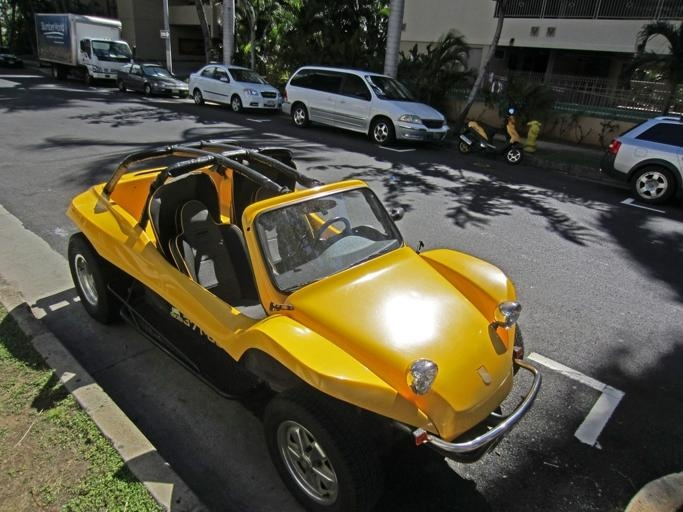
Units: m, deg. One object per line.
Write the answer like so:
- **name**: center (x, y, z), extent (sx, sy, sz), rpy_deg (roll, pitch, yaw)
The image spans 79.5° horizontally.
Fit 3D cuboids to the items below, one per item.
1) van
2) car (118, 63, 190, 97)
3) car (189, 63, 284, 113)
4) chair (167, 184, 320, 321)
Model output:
- **van**: center (0.761, -5.518, 15.053), extent (6.028, 2.234, 1.789), rpy_deg (22, 32, 32)
- **car**: center (-10.185, -9.412, 22.177), extent (4.283, 1.436, 1.807), rpy_deg (21, 31, 29)
- **car**: center (-4.905, -7.619, 18.839), extent (4.621, 1.796, 1.700), rpy_deg (22, 32, 31)
- **chair**: center (-0.894, 0.010, 3.624), extent (0.734, 0.948, 1.081), rpy_deg (-34, 21, -36)
